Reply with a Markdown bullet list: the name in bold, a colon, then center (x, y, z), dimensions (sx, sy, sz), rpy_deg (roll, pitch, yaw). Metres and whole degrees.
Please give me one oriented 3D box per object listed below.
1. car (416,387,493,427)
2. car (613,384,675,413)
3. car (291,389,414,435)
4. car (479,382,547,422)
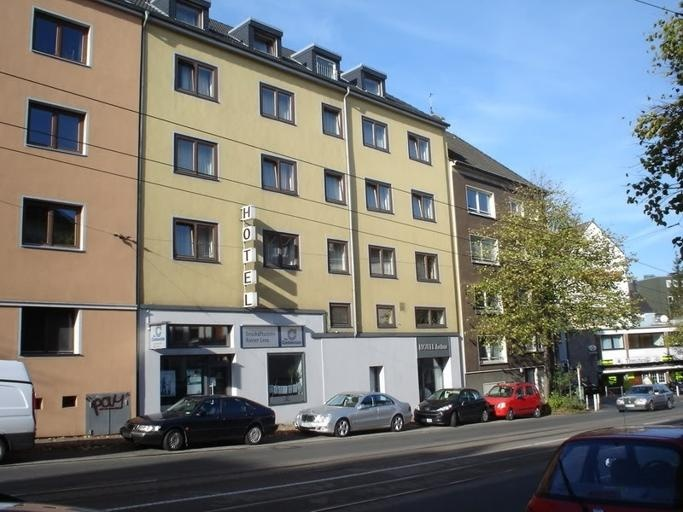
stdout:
- **car**: center (4.902, 6.680, 29.766), dimensions (2.729, 1.266, 1.617), rpy_deg (10, -16, -40)
- **car**: center (18.367, 8.513, 40.786), dimensions (5.111, 1.614, 1.728), rpy_deg (9, -19, -40)
- **car**: center (0.517, 6.032, 26.180), dimensions (4.021, 1.288, 1.784), rpy_deg (10, -15, -40)
- **car**: center (8.421, 7.295, 33.855), dimensions (2.833, 1.401, 1.821), rpy_deg (11, -17, -41)
